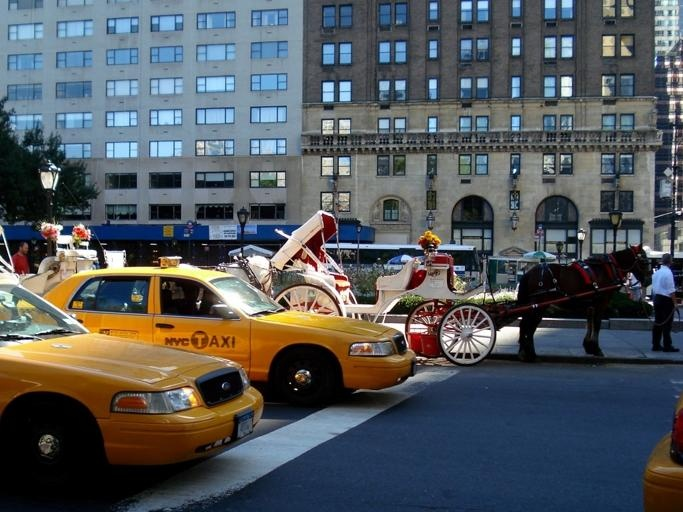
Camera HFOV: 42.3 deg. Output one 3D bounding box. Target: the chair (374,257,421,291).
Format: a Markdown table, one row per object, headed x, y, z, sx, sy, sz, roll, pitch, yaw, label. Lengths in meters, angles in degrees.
| x | y | z | sx | sy | sz | roll | pitch | yaw | label |
| --- | --- | --- | --- | --- | --- | --- | --- | --- | --- |
| 1.287 | 0.374 | 18.855 | 0.993 | 0.680 | 0.727 | -3 | 2 | 22 | chair |

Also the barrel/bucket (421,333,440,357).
| x | y | z | sx | sy | sz | roll | pitch | yaw | label |
| --- | --- | --- | --- | --- | --- | --- | --- | --- | --- |
| 1.897 | 1.916 | 18.984 | 0.536 | 0.495 | 0.432 | -1 | -2 | 0 | barrel/bucket |

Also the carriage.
| x | y | z | sx | sy | sz | roll | pitch | yaw | label |
| --- | --- | --- | --- | --- | --- | --- | --- | --- | --- |
| 4.019 | 0.720 | 20.603 | 11.151 | 4.148 | 3.115 | -1 | 1 | 2 | carriage |

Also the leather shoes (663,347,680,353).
| x | y | z | sx | sy | sz | roll | pitch | yaw | label |
| --- | --- | --- | --- | --- | --- | --- | --- | --- | --- |
| 7.609 | 2.181 | 20.405 | 0.413 | 0.166 | 0.142 | 0 | 0 | -8 | leather shoes |

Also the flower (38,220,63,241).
| x | y | z | sx | sy | sz | roll | pitch | yaw | label |
| --- | --- | --- | --- | --- | --- | --- | --- | --- | --- |
| -7.494 | -0.643 | 22.903 | 0.620 | 0.424 | 0.610 | 17 | 6 | 11 | flower |

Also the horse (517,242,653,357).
| x | y | z | sx | sy | sz | roll | pitch | yaw | label |
| --- | --- | --- | --- | --- | --- | --- | --- | --- | --- |
| 6.530 | 1.229 | 23.441 | 3.232 | 2.631 | 1.223 | 0 | -5 | 0 | horse |
